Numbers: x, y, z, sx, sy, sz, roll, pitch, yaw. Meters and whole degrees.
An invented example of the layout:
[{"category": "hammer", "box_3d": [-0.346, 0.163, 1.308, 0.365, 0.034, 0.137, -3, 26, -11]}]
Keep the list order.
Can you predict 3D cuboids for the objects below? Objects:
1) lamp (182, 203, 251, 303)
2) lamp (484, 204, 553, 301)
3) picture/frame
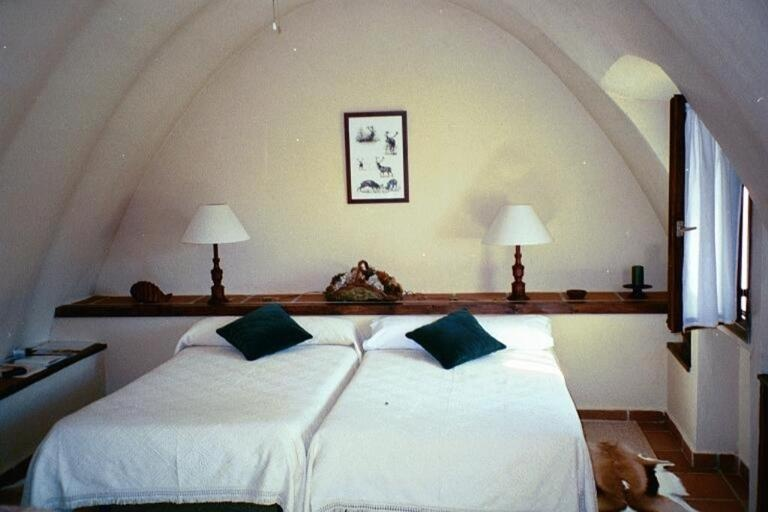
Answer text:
[{"category": "lamp", "box_3d": [-1.438, -0.057, 5.021, 0.583, 0.942, 0.638, 3, 12, 17]}, {"category": "lamp", "box_3d": [1.086, -0.009, 4.711, 0.507, 0.743, 0.534, 4, -10, -18]}, {"category": "picture/frame", "box_3d": [-0.040, -0.893, 4.960, 0.728, 1.063, 0.040, 0, 10, 7]}]
